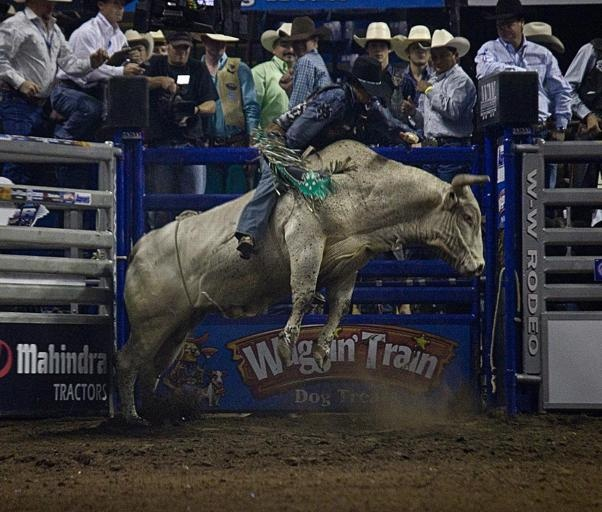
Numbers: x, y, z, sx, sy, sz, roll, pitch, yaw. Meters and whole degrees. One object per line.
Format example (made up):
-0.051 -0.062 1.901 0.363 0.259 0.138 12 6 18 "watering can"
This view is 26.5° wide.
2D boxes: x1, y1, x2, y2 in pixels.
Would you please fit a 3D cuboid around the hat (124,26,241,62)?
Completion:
-1.393 -2.414 14.593 0.640 0.162 0.620 -14 -9 -25 "hat"

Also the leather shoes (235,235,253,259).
-0.551 -0.067 11.520 0.140 0.213 0.220 0 13 -9 "leather shoes"

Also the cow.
-0.009 0.185 11.817 3.870 2.256 0.953 -15 -25 25 "cow"

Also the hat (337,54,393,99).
0.621 -1.693 12.182 0.466 0.398 0.533 0 11 2 "hat"
